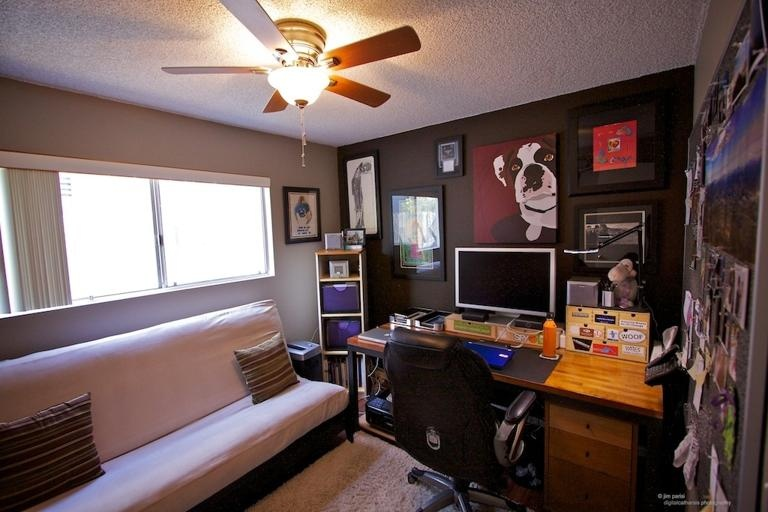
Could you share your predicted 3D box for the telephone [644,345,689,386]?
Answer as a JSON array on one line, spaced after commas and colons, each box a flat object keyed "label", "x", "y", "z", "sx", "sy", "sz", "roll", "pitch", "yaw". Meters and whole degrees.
[{"label": "telephone", "x": 1.680, "y": 0.681, "z": 3.141, "sx": 0.262, "sy": 0.095, "sz": 0.254, "roll": -30, "pitch": 23, "yaw": 31}]

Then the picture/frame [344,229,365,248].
[{"label": "picture/frame", "x": -0.291, "y": -0.171, "z": 5.250, "sx": 0.180, "sy": 0.164, "sz": 0.064, "roll": 4, "pitch": 7, "yaw": 25}]

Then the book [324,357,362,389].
[{"label": "book", "x": -0.349, "y": 1.120, "z": 5.217, "sx": 0.305, "sy": 0.390, "sz": 0.415, "roll": -2, "pitch": -2, "yaw": 23}]

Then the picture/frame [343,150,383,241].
[{"label": "picture/frame", "x": -0.245, "y": -0.635, "z": 5.445, "sx": 0.020, "sy": 0.837, "sz": 0.510, "roll": 16, "pitch": 25, "yaw": 38}]

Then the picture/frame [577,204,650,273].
[{"label": "picture/frame", "x": 1.789, "y": -0.140, "z": 4.049, "sx": 0.542, "sy": 0.518, "sz": 0.022, "roll": 2, "pitch": 7, "yaw": 38}]

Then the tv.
[{"label": "tv", "x": 1.033, "y": 0.257, "z": 4.340, "sx": 0.683, "sy": 0.445, "sz": 0.057, "roll": 3, "pitch": 8, "yaw": 35}]

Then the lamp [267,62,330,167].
[{"label": "lamp", "x": -0.527, "y": -0.890, "z": 3.365, "sx": 0.417, "sy": 0.425, "sz": 0.388, "roll": 1, "pitch": -12, "yaw": -35}]

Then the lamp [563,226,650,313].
[{"label": "lamp", "x": 1.676, "y": 0.074, "z": 3.965, "sx": 0.516, "sy": 0.595, "sz": 0.368, "roll": -2, "pitch": 4, "yaw": 25}]

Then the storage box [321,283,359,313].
[{"label": "storage box", "x": -0.403, "y": 0.394, "z": 5.096, "sx": 0.457, "sy": 0.308, "sz": 0.269, "roll": 1, "pitch": 8, "yaw": 9}]

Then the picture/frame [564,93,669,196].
[{"label": "picture/frame", "x": 1.802, "y": -0.850, "z": 4.000, "sx": 0.859, "sy": 0.860, "sz": 0.090, "roll": 1, "pitch": 4, "yaw": 33}]

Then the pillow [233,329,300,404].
[{"label": "pillow", "x": -0.911, "y": 0.902, "z": 4.359, "sx": 0.509, "sy": 0.467, "sz": 0.150, "roll": -26, "pitch": -10, "yaw": 10}]

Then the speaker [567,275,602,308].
[{"label": "speaker", "x": 1.501, "y": 0.259, "z": 3.921, "sx": 0.208, "sy": 0.165, "sz": 0.214, "roll": 2, "pitch": 7, "yaw": 33}]

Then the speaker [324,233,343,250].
[{"label": "speaker", "x": -0.499, "y": -0.146, "z": 5.235, "sx": 0.180, "sy": 0.161, "sz": 0.098, "roll": 1, "pitch": 6, "yaw": 8}]

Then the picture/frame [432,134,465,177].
[{"label": "picture/frame", "x": 0.602, "y": -0.916, "z": 4.792, "sx": 0.412, "sy": 0.498, "sz": 0.036, "roll": 3, "pitch": 6, "yaw": 40}]
